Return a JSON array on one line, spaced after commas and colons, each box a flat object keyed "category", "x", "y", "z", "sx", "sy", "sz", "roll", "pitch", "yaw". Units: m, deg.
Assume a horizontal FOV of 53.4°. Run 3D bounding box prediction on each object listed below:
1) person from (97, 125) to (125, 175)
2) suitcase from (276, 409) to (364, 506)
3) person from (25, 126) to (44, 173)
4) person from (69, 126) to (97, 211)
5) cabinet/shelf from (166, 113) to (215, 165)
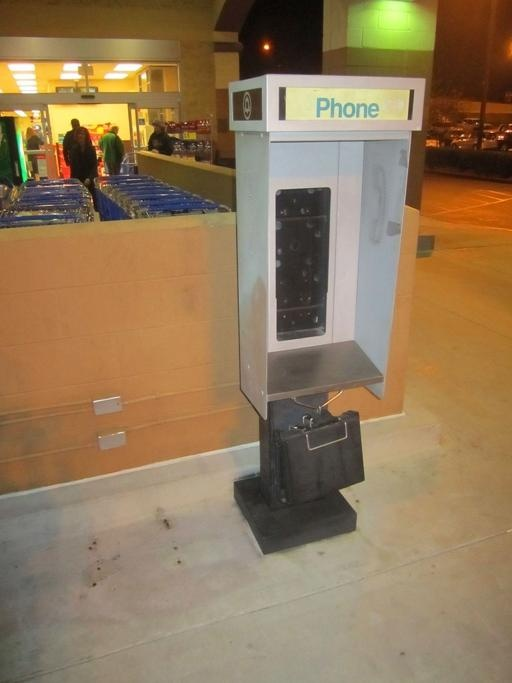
[{"category": "person", "x": -2.751, "y": -3.667, "z": 9.885, "sx": 0.631, "sy": 0.729, "sz": 0.328, "roll": 18, "pitch": 29, "yaw": 40}, {"category": "suitcase", "x": 0.267, "y": 0.510, "z": 2.249, "sx": 0.357, "sy": 0.340, "sz": 0.143, "roll": -15, "pitch": 27, "yaw": -17}, {"category": "person", "x": -4.963, "y": -4.304, "z": 11.528, "sx": 0.269, "sy": 0.995, "sz": 0.487, "roll": 9, "pitch": 24, "yaw": 24}, {"category": "person", "x": -2.794, "y": -2.828, "z": 8.276, "sx": 0.421, "sy": 1.272, "sz": 2.458, "roll": -8, "pitch": 24, "yaw": -16}, {"category": "cabinet/shelf", "x": -1.495, "y": -4.773, "z": 12.241, "sx": 1.037, "sy": 1.034, "sz": 0.352, "roll": 4, "pitch": 0, "yaw": 9}]
